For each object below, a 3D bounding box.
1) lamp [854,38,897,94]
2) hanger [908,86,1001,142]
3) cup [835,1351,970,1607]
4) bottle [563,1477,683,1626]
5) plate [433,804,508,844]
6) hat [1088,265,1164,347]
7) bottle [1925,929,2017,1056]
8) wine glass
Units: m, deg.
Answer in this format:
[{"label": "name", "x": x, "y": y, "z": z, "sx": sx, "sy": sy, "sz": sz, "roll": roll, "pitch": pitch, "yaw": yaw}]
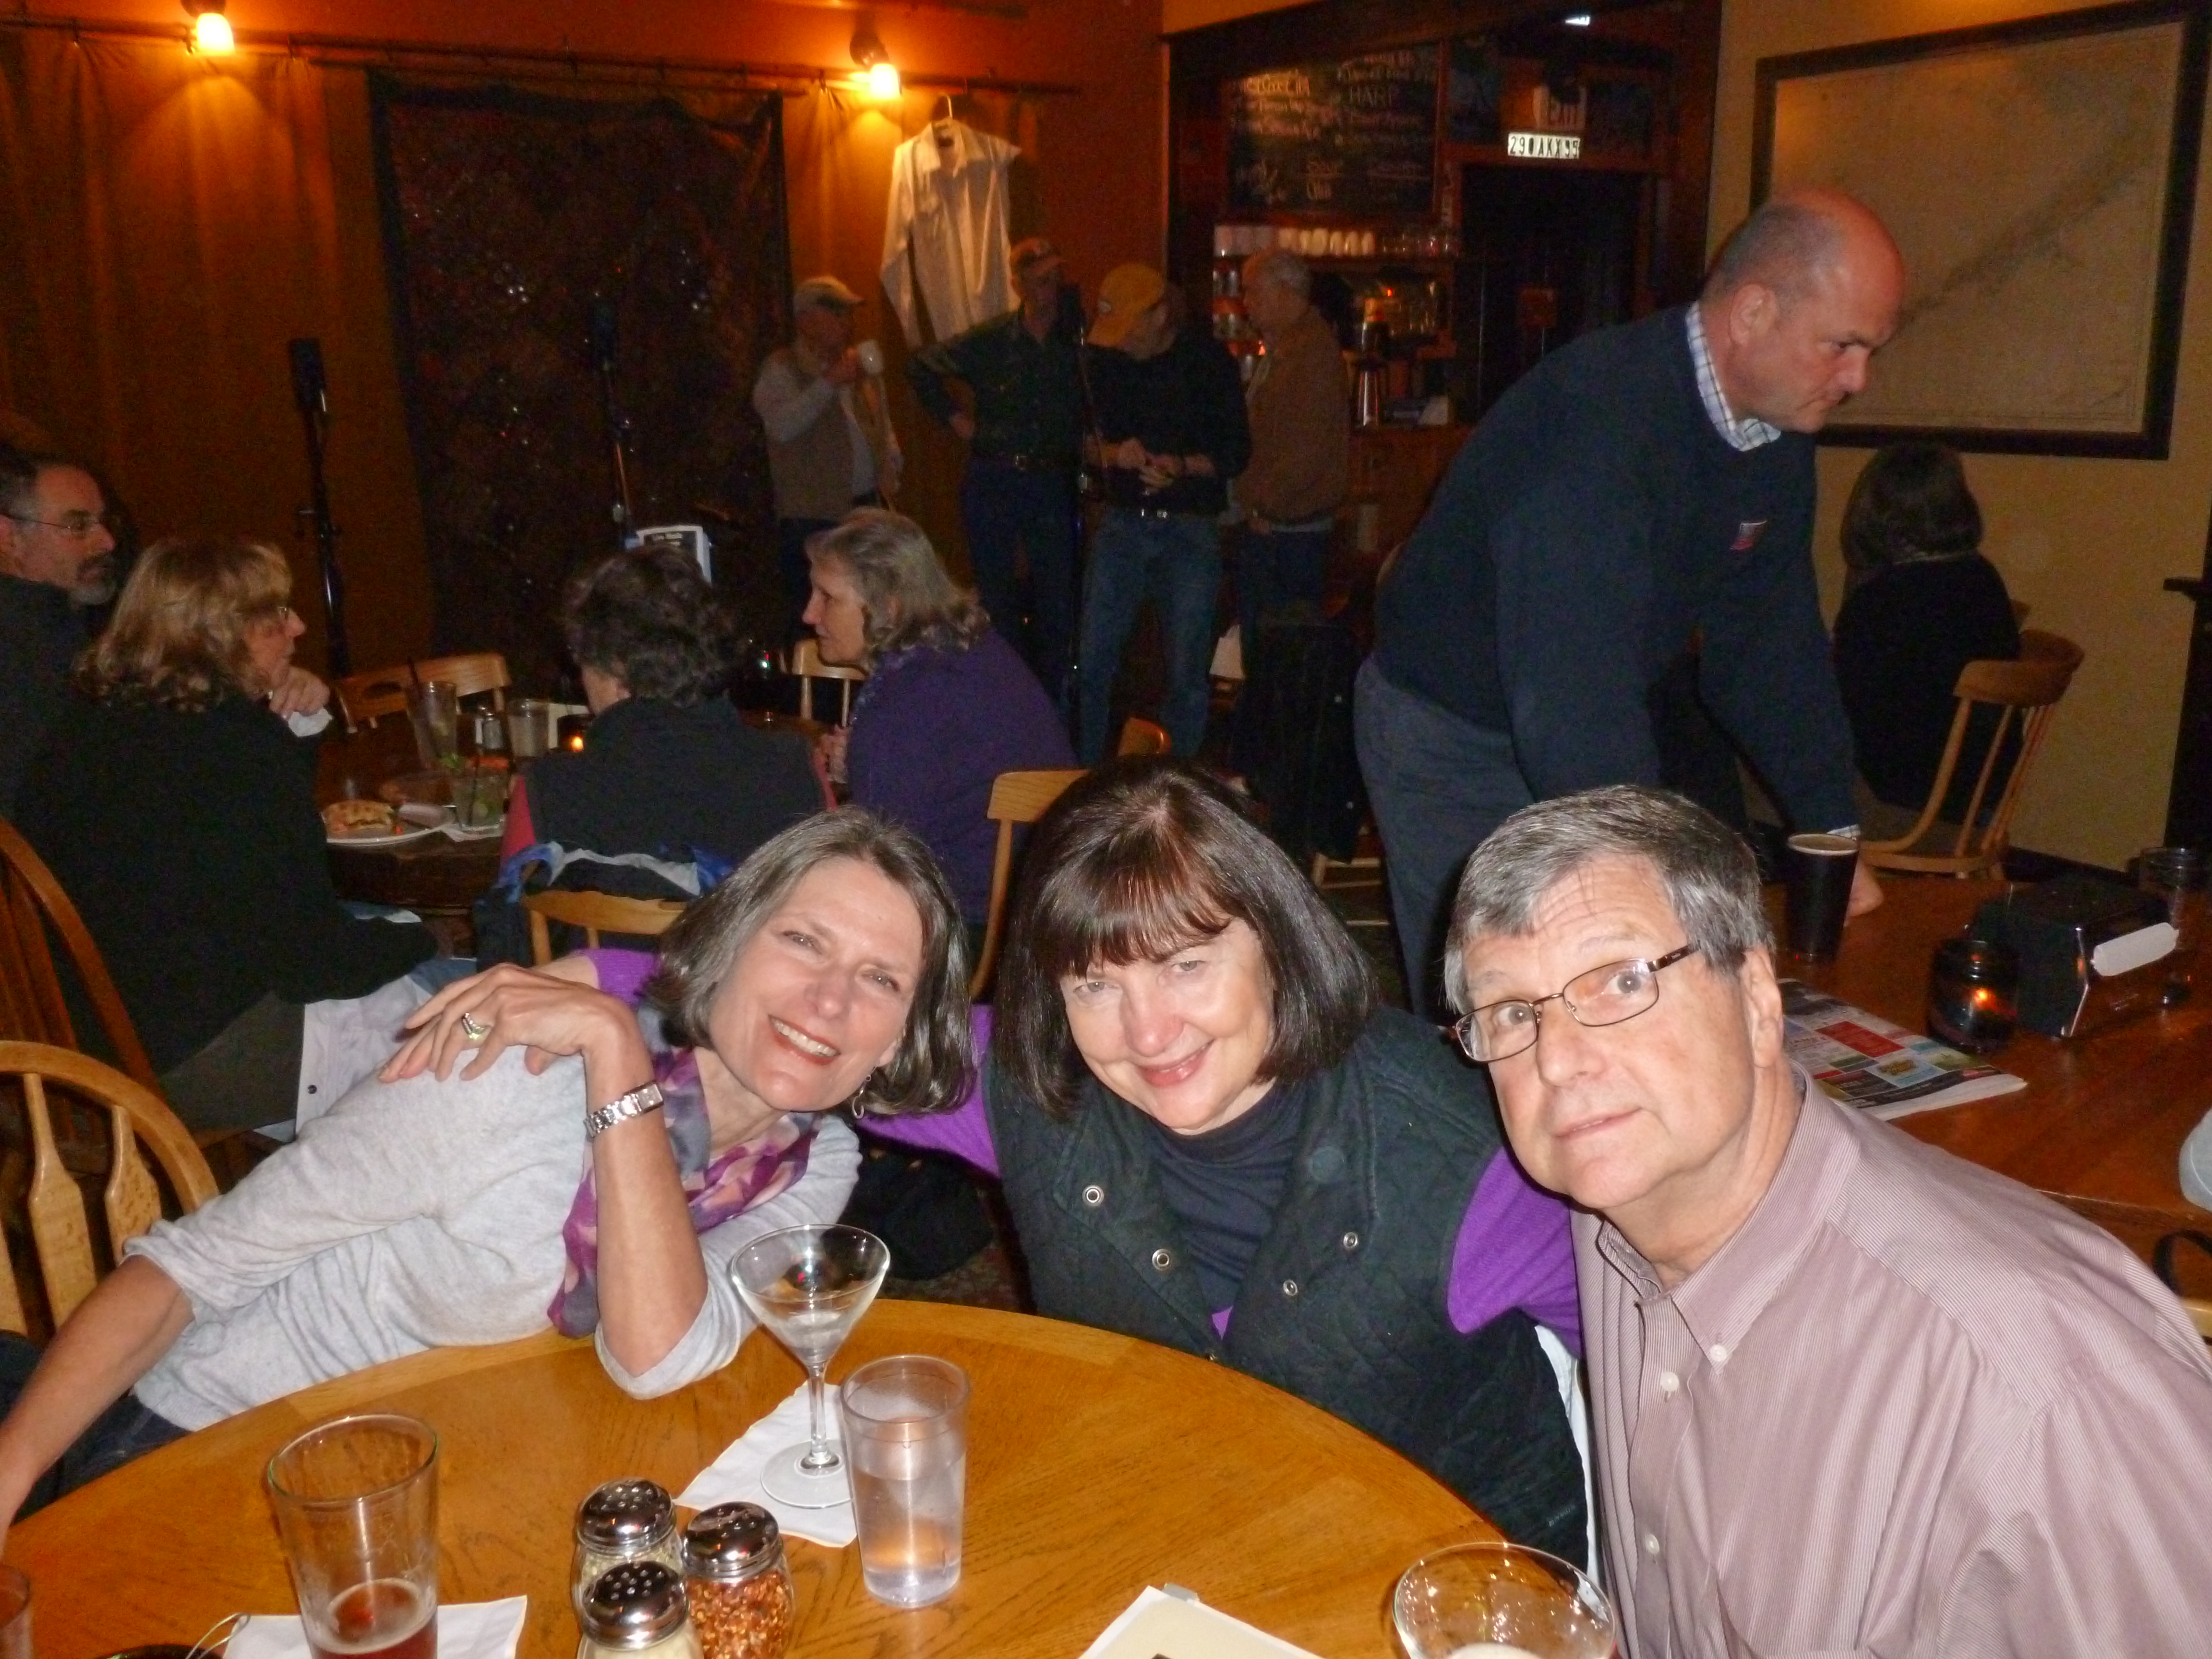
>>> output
[{"label": "lamp", "x": -1.026, "y": -3.329, "z": 7.876, "sx": 0.194, "sy": 0.210, "sz": 0.266, "roll": -3, "pitch": 15, "yaw": -1}, {"label": "hanger", "x": -0.719, "y": -3.258, "z": 8.130, "sx": 0.293, "sy": 0.326, "sz": 0.013, "roll": -10, "pitch": 26, "yaw": -31}, {"label": "cup", "x": -0.203, "y": 0.640, "z": 1.813, "sx": 0.121, "sy": 0.205, "sz": 0.188, "roll": -5, "pitch": 15, "yaw": -8}, {"label": "bottle", "x": -0.446, "y": 0.654, "z": 1.652, "sx": 0.110, "sy": 0.161, "sz": 0.112, "roll": 1, "pitch": -1, "yaw": 0}, {"label": "plate", "x": -1.360, "y": -0.006, "z": 3.820, "sx": 0.118, "sy": 0.028, "sz": 0.121, "roll": 4, "pitch": 19, "yaw": 24}, {"label": "hat", "x": 0.073, "y": -2.006, "z": 6.848, "sx": 0.226, "sy": 0.300, "sz": 0.346, "roll": -9, "pitch": 16, "yaw": -23}, {"label": "bottle", "x": 1.323, "y": 0.260, "z": 2.746, "sx": 0.112, "sy": 0.165, "sz": 0.165, "roll": 0, "pitch": 0, "yaw": 11}, {"label": "wine glass", "x": -0.322, "y": 0.589, "z": 1.968, "sx": 0.179, "sy": 0.236, "sz": 0.190, "roll": -6, "pitch": -12, "yaw": 29}]
